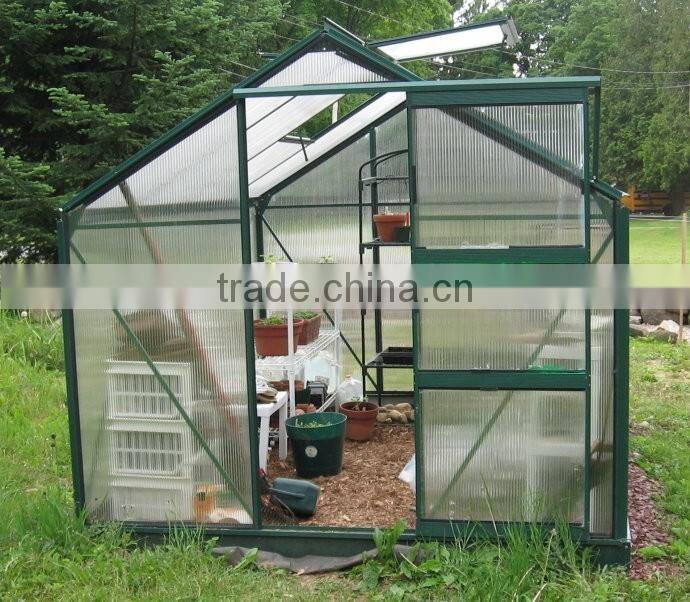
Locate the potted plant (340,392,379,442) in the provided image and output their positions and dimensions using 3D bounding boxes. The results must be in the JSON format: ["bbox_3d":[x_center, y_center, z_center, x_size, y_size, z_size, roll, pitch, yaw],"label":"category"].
[{"bbox_3d":[0.092,0.995,7.458,0.310,0.260,0.295,2,0,34],"label":"potted plant"}]

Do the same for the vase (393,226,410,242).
[{"bbox_3d":[0.489,-0.566,7.592,0.134,0.106,0.131,-2,8,-12],"label":"vase"}]

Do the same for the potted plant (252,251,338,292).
[{"bbox_3d":[-0.433,-0.244,7.152,0.304,0.145,0.602,-3,-5,39],"label":"potted plant"}]

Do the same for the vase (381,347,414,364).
[{"bbox_3d":[0.476,0.490,8.010,0.265,0.126,0.337,-2,4,0],"label":"vase"}]

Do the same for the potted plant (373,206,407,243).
[{"bbox_3d":[0.402,-0.663,7.726,0.268,0.207,0.274,-1,2,15],"label":"potted plant"}]

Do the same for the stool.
[{"bbox_3d":[-0.613,0.877,6.598,0.495,0.641,0.664,0,1,14],"label":"stool"}]

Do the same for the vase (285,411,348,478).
[{"bbox_3d":[-0.203,1.086,6.727,0.469,0.393,0.503,-4,5,-12],"label":"vase"}]
